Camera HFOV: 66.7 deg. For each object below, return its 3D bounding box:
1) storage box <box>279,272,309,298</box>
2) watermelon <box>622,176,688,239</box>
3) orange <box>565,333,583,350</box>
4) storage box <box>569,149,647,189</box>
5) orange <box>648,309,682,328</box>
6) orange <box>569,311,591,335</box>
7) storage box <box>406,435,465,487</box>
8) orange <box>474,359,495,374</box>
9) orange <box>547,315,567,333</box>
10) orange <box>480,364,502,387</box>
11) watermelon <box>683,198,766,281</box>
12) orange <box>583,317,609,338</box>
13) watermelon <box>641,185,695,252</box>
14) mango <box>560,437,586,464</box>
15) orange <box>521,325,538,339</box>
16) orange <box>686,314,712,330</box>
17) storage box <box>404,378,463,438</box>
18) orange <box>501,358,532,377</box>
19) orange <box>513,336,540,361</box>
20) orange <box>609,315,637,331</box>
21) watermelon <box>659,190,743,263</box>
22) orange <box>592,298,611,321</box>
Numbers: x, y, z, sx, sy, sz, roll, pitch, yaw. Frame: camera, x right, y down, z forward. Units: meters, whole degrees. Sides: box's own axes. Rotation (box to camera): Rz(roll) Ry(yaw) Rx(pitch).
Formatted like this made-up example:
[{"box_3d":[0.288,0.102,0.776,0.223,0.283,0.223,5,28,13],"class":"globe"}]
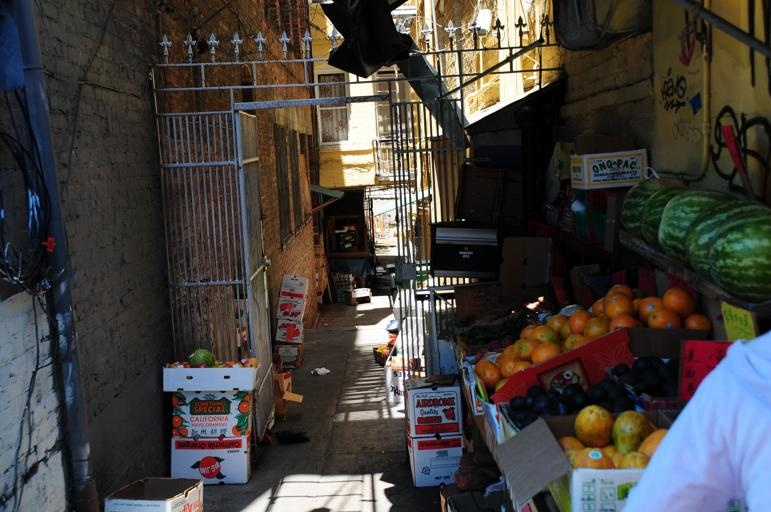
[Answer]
[{"box_3d":[-1.734,0.558,11.078,0.491,0.539,0.401,13,-65,-12],"class":"storage box"},{"box_3d":[1.854,-0.344,4.155,0.444,0.359,0.486,0,-61,6],"class":"watermelon"},{"box_3d":[1.377,0.628,4.267,0.126,0.129,0.144,2,-92,7],"class":"orange"},{"box_3d":[1.968,-0.757,5.249,0.451,0.355,0.265,-3,-84,-1],"class":"storage box"},{"box_3d":[1.935,0.442,4.041,0.147,0.176,0.151,-1,-99,-12],"class":"orange"},{"box_3d":[1.489,0.516,4.564,0.142,0.197,0.165,4,-41,-8],"class":"orange"},{"box_3d":[0.542,2.083,6.176,0.486,0.524,0.352,-3,-86,-4],"class":"storage box"},{"box_3d":[0.785,0.874,4.621,0.090,0.096,0.101,-2,-111,0],"class":"orange"},{"box_3d":[1.414,0.546,4.802,0.127,0.126,0.151,29,-49,-22],"class":"orange"},{"box_3d":[0.799,0.906,4.458,0.132,0.133,0.148,-6,-76,-37],"class":"orange"},{"box_3d":[1.921,-0.093,3.340,0.233,0.327,0.413,7,-66,16],"class":"watermelon"},{"box_3d":[1.570,0.526,4.345,0.141,0.165,0.134,-21,-100,2],"class":"orange"},{"box_3d":[1.871,-0.299,3.974,0.332,0.280,0.422,3,-67,9],"class":"watermelon"},{"box_3d":[1.026,1.055,3.196,0.097,0.093,0.125,-16,-80,-20],"class":"mango"},{"box_3d":[1.192,0.629,4.842,0.102,0.108,0.136,2,-88,4],"class":"orange"},{"box_3d":[2.150,0.458,4.011,0.111,0.110,0.121,2,-64,2],"class":"orange"},{"box_3d":[0.526,1.585,6.375,0.577,0.570,0.564,-3,-88,1],"class":"storage box"},{"box_3d":[0.954,0.809,4.268,0.154,0.164,0.174,-7,-111,-8],"class":"orange"},{"box_3d":[1.084,0.700,4.475,0.158,0.155,0.140,3,-43,14],"class":"orange"},{"box_3d":[1.695,0.473,4.139,0.143,0.130,0.130,8,-101,-10],"class":"orange"},{"box_3d":[1.894,-0.212,3.603,0.419,0.338,0.342,-12,-45,0],"class":"watermelon"},{"box_3d":[1.676,0.415,4.574,0.128,0.136,0.135,2,-31,-14],"class":"orange"}]
